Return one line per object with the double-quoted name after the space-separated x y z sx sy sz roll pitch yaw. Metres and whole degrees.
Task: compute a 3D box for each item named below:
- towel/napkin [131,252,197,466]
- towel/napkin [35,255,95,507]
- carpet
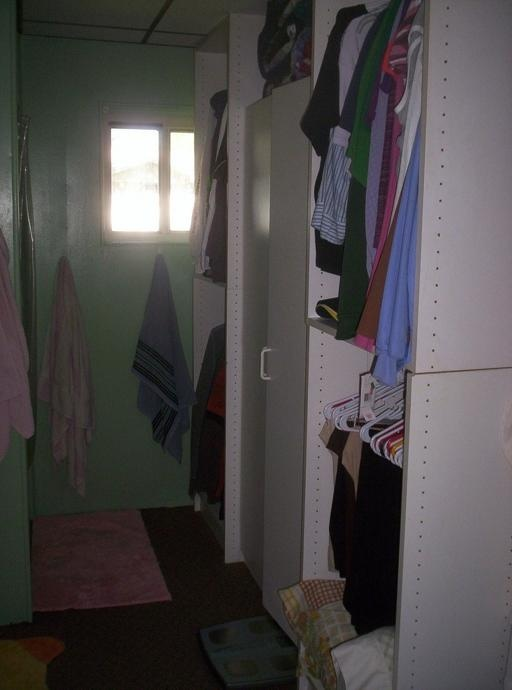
-0.495 0.040 3.258 0.319 1.038 0.236 0 4 -4 "towel/napkin"
-0.986 0.166 3.129 0.278 1.228 0.175 -2 5 -24 "towel/napkin"
-0.773 1.013 2.884 0.568 0.031 1.030 -2 8 -22 "carpet"
